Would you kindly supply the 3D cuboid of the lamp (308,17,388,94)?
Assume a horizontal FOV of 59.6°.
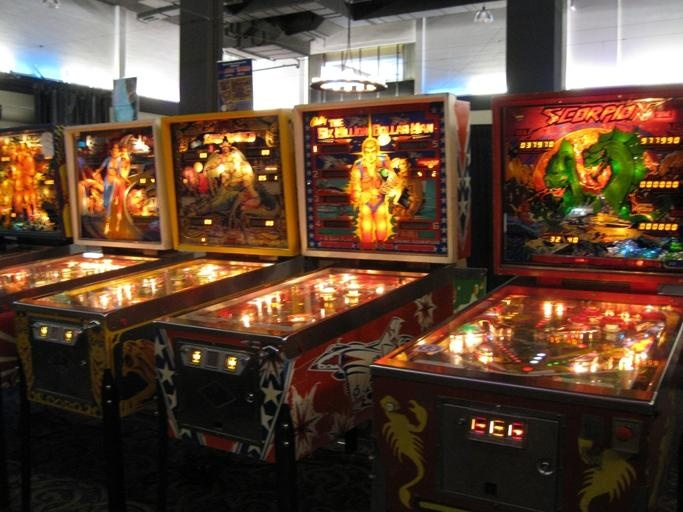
[{"bbox_3d":[0.092,-2.349,7.420,0.801,0.555,0.562,2,35,-4],"label":"lamp"}]
